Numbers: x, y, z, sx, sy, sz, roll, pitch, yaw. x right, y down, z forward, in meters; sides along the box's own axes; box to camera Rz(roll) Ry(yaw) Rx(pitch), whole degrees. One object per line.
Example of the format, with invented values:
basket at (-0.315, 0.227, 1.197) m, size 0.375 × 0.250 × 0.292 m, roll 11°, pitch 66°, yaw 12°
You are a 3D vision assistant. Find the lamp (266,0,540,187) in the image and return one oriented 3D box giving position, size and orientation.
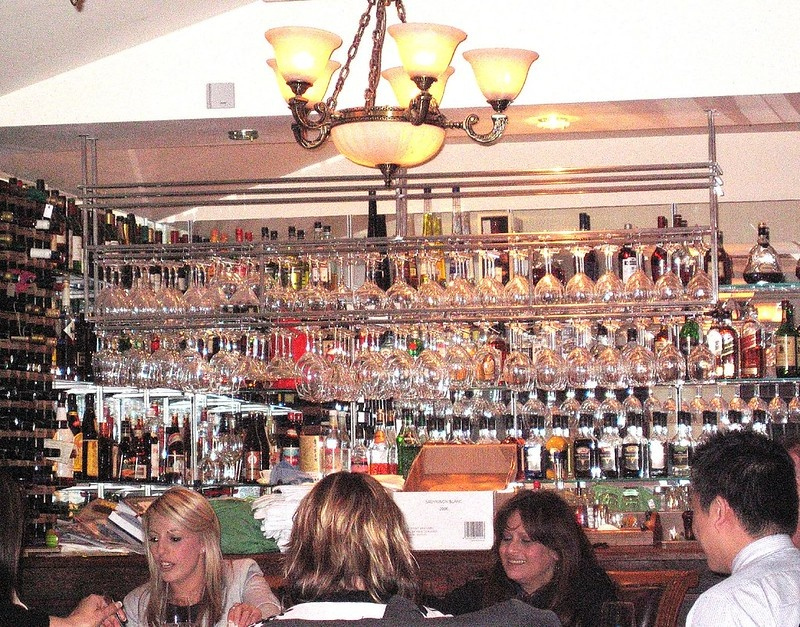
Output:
lamp at (-0.026, -0.841, 5.099) m, size 0.755 × 0.693 × 0.886 m, roll 0°, pitch -5°, yaw 3°

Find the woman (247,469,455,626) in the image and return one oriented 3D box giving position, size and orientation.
woman at (-0.169, 0.709, 3.755) m, size 0.582 × 0.545 × 0.366 m, roll 1°, pitch -4°, yaw 10°
